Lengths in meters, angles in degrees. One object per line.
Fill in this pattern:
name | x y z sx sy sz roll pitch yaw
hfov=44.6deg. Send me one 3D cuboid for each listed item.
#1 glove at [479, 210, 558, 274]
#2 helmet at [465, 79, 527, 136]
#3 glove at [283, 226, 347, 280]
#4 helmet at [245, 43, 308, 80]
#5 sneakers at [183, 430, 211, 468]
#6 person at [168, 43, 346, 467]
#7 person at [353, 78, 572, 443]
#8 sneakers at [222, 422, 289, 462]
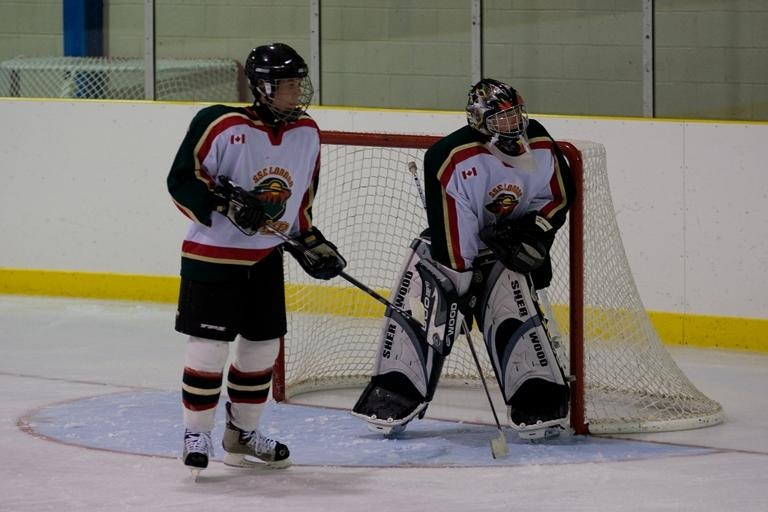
glove | 0.631 -0.032 4.398 0.295 0.286 0.140 -26 -21 -24
helmet | 0.520 -0.712 4.424 0.264 0.247 0.303 -11 25 -11
glove | -0.305 -0.012 4.145 0.180 0.289 0.113 -44 13 -5
helmet | -0.465 -0.826 3.993 0.209 0.161 0.175 -10 19 11
sneakers | -0.794 0.820 3.967 0.121 0.162 0.163 1 10 -6
person | -0.562 0.014 4.019 0.679 1.819 0.301 -4 12 -30
person | 0.389 0.032 4.610 1.188 1.667 0.887 -2 13 14
sneakers | -0.572 0.829 4.082 0.361 0.162 0.127 4 14 4
